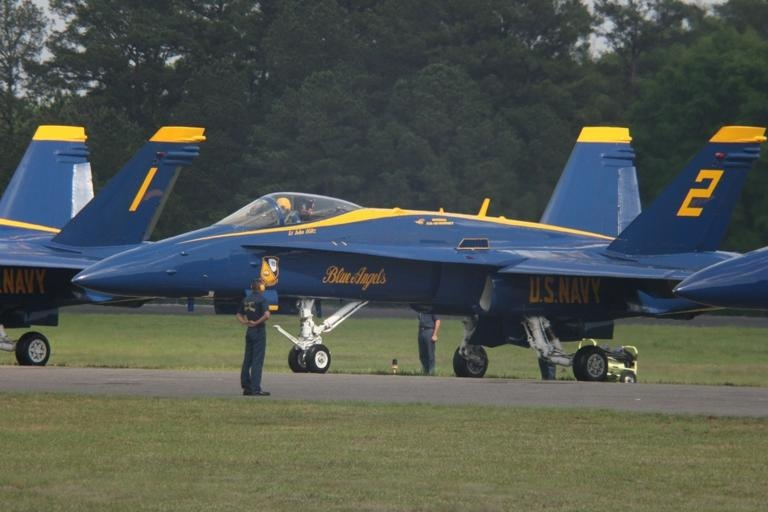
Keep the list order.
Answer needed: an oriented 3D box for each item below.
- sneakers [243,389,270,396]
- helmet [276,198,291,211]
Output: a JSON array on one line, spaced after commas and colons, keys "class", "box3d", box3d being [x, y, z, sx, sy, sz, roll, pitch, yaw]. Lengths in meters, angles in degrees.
[{"class": "sneakers", "box3d": [-3.563, 3.801, 49.074, 0.789, 0.231, 0.228, -1, -3, -2]}, {"class": "helmet", "box3d": [-3.029, -1.565, 52.312, 0.369, 0.296, 0.420, 4, 26, -4]}]
